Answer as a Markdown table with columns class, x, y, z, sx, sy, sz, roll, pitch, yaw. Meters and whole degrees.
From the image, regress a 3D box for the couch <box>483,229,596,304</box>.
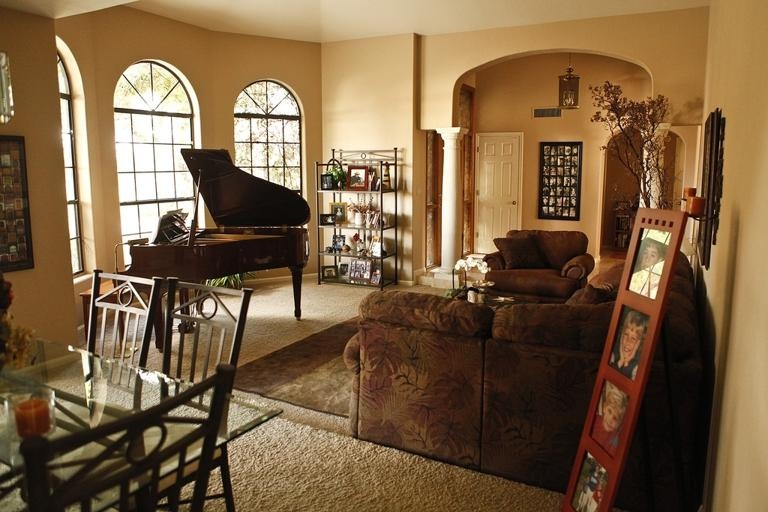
| class | x | y | z | sx | sy | sz | roll | pitch | yaw |
| --- | --- | --- | --- | --- | --- | --- | --- | --- | --- |
| couch | 2.163 | 0.197 | 7.575 | 1.406 | 0.955 | 1.097 | 3 | 13 | 26 |

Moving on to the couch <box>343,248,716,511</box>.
| class | x | y | z | sx | sy | sz | roll | pitch | yaw |
| --- | --- | --- | --- | --- | --- | --- | --- | --- | --- |
| couch | 1.121 | 0.423 | 4.350 | 2.298 | 1.087 | 1.676 | 3 | 11 | 27 |

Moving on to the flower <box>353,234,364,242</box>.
| class | x | y | z | sx | sy | sz | roll | pitch | yaw |
| --- | --- | --- | --- | --- | --- | --- | --- | --- | --- |
| flower | -0.444 | -0.308 | 9.083 | 0.151 | 0.149 | 0.172 | -2 | 7 | -4 |

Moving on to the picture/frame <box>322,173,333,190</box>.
| class | x | y | z | sx | sy | sz | roll | pitch | yaw |
| --- | --- | --- | --- | --- | --- | --- | --- | --- | --- |
| picture/frame | -0.930 | -1.213 | 8.893 | 0.256 | 0.297 | 0.032 | 3 | 10 | 17 |

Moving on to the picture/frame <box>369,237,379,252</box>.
| class | x | y | z | sx | sy | sz | roll | pitch | yaw |
| --- | --- | --- | --- | --- | --- | --- | --- | --- | --- |
| picture/frame | -0.144 | -0.181 | 8.819 | 0.052 | 0.197 | 0.210 | 8 | -6 | -24 |

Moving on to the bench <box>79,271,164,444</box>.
| class | x | y | z | sx | sy | sz | roll | pitch | yaw |
| --- | --- | --- | --- | --- | --- | --- | --- | --- | --- |
| bench | -1.779 | 0.712 | 3.921 | 0.630 | 1.004 | 0.663 | 11 | -8 | 3 |

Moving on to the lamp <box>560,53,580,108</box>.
| class | x | y | z | sx | sy | sz | roll | pitch | yaw |
| --- | --- | --- | --- | --- | --- | --- | --- | --- | --- |
| lamp | 2.842 | -2.570 | 8.384 | 0.273 | 0.592 | 0.385 | 1 | 7 | 17 |

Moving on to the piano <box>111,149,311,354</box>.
| class | x | y | z | sx | sy | sz | roll | pitch | yaw |
| --- | --- | --- | --- | --- | --- | --- | --- | --- | --- |
| piano | -2.063 | -0.200 | 6.584 | 2.252 | 2.028 | 1.588 | -9 | 13 | -41 |

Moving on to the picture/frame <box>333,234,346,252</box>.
| class | x | y | z | sx | sy | sz | roll | pitch | yaw |
| --- | --- | --- | --- | --- | --- | --- | --- | --- | --- |
| picture/frame | -0.753 | -0.209 | 9.046 | 0.276 | 0.371 | 0.040 | 1 | -11 | -3 |

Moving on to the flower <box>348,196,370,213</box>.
| class | x | y | z | sx | sy | sz | roll | pitch | yaw |
| --- | --- | --- | --- | --- | --- | --- | --- | --- | --- |
| flower | -0.435 | -0.859 | 8.941 | 0.418 | 0.279 | 0.284 | 0 | 7 | 12 |

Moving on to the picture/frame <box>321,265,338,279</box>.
| class | x | y | z | sx | sy | sz | roll | pitch | yaw |
| --- | --- | --- | --- | --- | --- | --- | --- | --- | --- |
| picture/frame | -0.910 | 0.275 | 9.039 | 0.208 | 0.199 | 0.077 | 0 | 6 | -10 |

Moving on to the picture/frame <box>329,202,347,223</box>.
| class | x | y | z | sx | sy | sz | roll | pitch | yaw |
| --- | --- | --- | --- | --- | --- | --- | --- | --- | --- |
| picture/frame | -0.762 | -0.708 | 8.950 | 0.322 | 0.427 | 0.055 | -1 | 2 | -4 |

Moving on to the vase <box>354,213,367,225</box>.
| class | x | y | z | sx | sy | sz | roll | pitch | yaw |
| --- | --- | --- | --- | --- | --- | --- | --- | --- | --- |
| vase | -0.396 | -0.600 | 8.829 | 0.215 | 0.216 | 0.133 | -1 | 7 | 4 |

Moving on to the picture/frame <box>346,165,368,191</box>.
| class | x | y | z | sx | sy | sz | roll | pitch | yaw |
| --- | --- | --- | --- | --- | --- | --- | --- | --- | --- |
| picture/frame | -0.422 | -1.242 | 8.735 | 0.418 | 0.466 | 0.036 | 1 | 0 | 21 |

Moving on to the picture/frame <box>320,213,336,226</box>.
| class | x | y | z | sx | sy | sz | roll | pitch | yaw |
| --- | --- | --- | --- | --- | --- | --- | --- | --- | --- |
| picture/frame | -0.931 | -0.612 | 8.995 | 0.329 | 0.236 | 0.179 | 2 | 9 | 5 |
